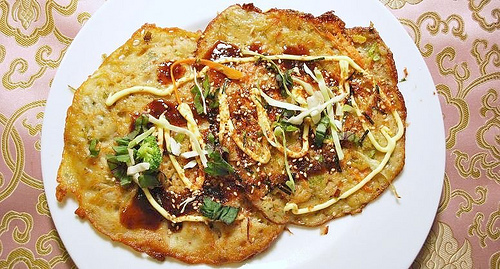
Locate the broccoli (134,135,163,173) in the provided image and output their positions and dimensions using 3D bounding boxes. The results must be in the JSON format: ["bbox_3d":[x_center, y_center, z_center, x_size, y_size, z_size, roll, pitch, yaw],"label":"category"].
[{"bbox_3d":[-1.384,0.283,7.079,0.668,0.396,0.616,1,20,-2],"label":"broccoli"}]

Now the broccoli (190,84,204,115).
[{"bbox_3d":[-0.750,-0.505,7.106,0.173,0.389,0.070,-2,-6,-1],"label":"broccoli"}]

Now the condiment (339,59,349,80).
[{"bbox_3d":[1.362,-0.939,7.235,0.126,0.255,0.073,-10,5,-2],"label":"condiment"}]

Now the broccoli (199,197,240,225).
[{"bbox_3d":[-0.434,1.070,7.097,0.534,0.256,0.156,18,15,0],"label":"broccoli"}]
